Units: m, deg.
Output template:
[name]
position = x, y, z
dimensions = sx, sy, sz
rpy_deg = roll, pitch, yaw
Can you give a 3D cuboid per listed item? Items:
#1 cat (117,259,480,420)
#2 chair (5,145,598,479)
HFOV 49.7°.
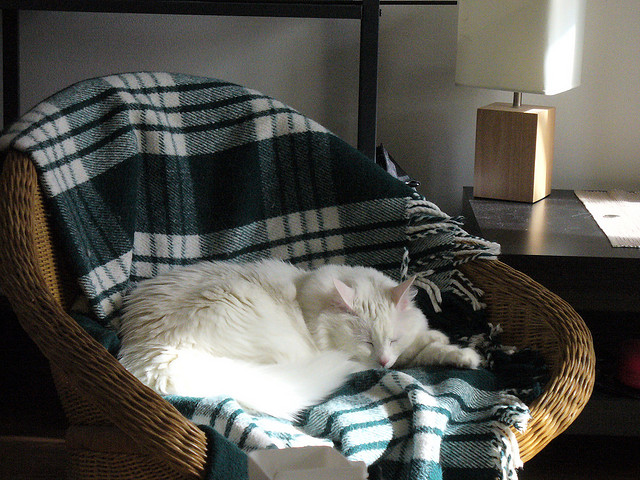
[cat]
position = -0.086, 0.205, 1.454
dimensions = 0.521, 0.190, 0.397
rpy_deg = 8, 2, 18
[chair]
position = -0.050, 0.127, 1.419
dimensions = 1.136, 0.619, 0.525
rpy_deg = -3, 12, -15
